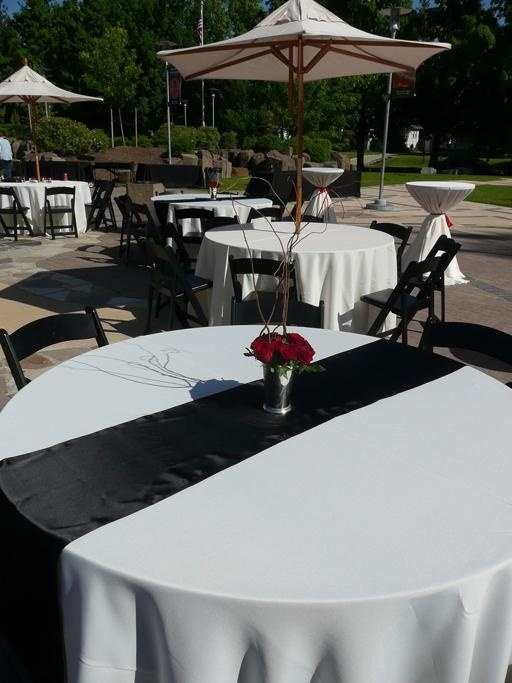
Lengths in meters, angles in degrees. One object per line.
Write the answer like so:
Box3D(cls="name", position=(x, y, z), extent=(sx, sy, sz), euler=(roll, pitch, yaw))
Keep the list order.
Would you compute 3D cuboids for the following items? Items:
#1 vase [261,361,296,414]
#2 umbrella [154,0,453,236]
Box3D(cls="vase", position=(0.073, 0.148, 1.775), extent=(0.107, 0.161, 0.106), euler=(1, -2, -18))
Box3D(cls="umbrella", position=(0.331, -2.063, 4.851), extent=(2.277, 1.866, 2.392), euler=(-15, 26, -32))
